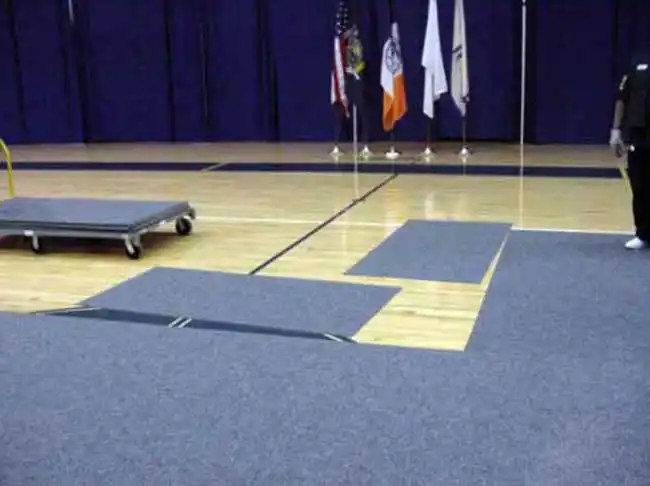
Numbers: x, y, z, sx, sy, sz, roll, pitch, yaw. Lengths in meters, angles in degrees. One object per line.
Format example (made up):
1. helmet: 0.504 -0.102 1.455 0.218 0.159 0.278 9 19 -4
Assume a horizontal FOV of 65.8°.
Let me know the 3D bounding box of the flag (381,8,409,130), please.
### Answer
1. flag: 1.154 -2.797 8.370 0.399 1.729 0.311 -3 15 7

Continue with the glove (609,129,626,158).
1. glove: 2.048 -0.684 3.484 0.115 0.227 0.083 -3 9 -18
